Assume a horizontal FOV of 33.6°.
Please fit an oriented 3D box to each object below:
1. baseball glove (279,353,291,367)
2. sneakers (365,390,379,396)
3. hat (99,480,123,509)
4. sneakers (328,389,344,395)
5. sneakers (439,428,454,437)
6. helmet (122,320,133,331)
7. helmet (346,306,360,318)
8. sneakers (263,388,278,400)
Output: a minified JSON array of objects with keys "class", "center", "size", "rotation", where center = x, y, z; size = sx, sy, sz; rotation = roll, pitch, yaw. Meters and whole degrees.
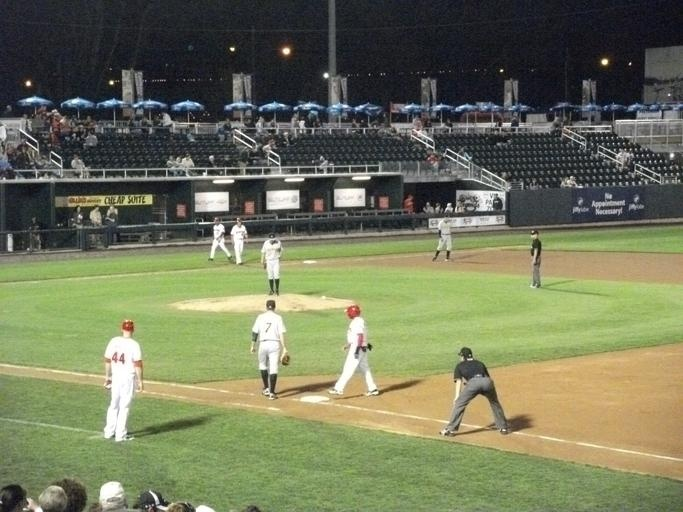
[{"class":"baseball glove","center":[-1.655,3.082,33.548],"size":[0.313,0.263,0.514],"rotation":[5,13,-1]},{"class":"sneakers","center":[0.933,4.153,34.053],"size":[0.426,0.191,0.151],"rotation":[2,2,7]},{"class":"hat","center":[-5.505,5.796,27.278],"size":[0.496,0.643,0.215],"rotation":[5,-25,-13]},{"class":"sneakers","center":[-0.184,4.116,34.019],"size":[0.430,0.180,0.170],"rotation":[8,8,26]},{"class":"sneakers","center":[2.941,4.965,31.691],"size":[0.391,0.154,0.166],"rotation":[4,5,29]},{"class":"helmet","center":[-5.911,1.937,31.394],"size":[0.243,0.270,0.299],"rotation":[2,12,-5]},{"class":"helmet","center":[0.307,1.672,33.594],"size":[0.303,0.210,0.409],"rotation":[-10,15,-40]},{"class":"sneakers","center":[-2.137,4.171,33.816],"size":[0.208,0.206,0.508],"rotation":[2,1,14]}]
